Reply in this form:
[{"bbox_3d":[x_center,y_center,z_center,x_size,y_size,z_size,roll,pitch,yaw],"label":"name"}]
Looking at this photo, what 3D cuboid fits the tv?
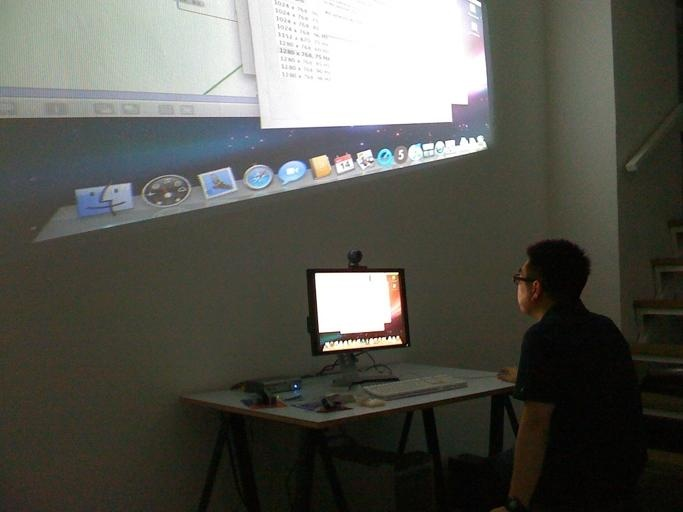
[{"bbox_3d":[0.065,0.328,2.441,0.504,0.505,0.278,2,-8,-34],"label":"tv"}]
